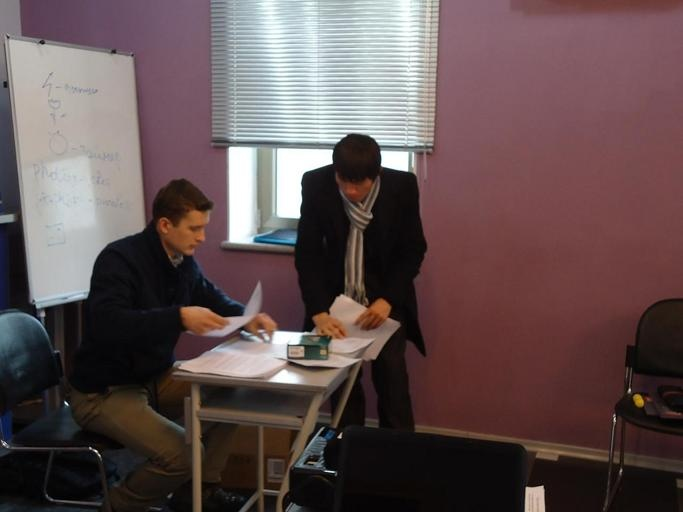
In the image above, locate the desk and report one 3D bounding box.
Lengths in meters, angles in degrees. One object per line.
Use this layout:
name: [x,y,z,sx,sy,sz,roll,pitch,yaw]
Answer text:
desk: [-0.236,0.577,2.744,0.633,1.010,0.962,2,6,13]
